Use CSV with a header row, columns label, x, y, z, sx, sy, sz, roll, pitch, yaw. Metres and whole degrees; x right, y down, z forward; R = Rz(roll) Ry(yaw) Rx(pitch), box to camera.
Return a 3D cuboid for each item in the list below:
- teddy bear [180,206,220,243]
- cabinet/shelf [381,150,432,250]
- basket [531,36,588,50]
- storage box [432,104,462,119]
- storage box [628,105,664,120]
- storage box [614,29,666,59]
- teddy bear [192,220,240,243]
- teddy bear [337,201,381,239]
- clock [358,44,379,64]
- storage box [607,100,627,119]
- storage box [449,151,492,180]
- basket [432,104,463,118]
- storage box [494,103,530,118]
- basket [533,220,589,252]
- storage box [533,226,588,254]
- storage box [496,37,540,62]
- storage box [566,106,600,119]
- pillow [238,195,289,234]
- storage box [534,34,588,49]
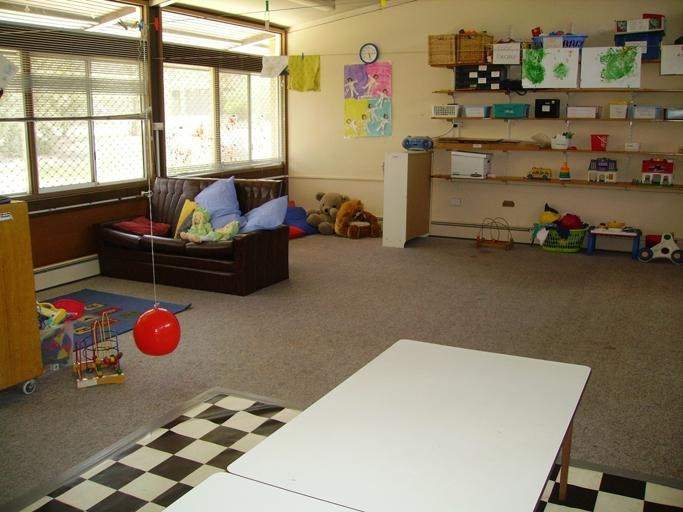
label,x,y,z,sx,sy,sz,roll,pitch,yaw
teddy bear,-1.647,-0.294,5.730,0.400,0.222,0.504,1,43,3
cabinet/shelf,0.992,-0.873,7.599,0.454,1.491,1.413,3,12,22
basket,2.984,-2.920,6.774,0.424,0.138,0.304,3,13,25
storage box,1.612,-2.215,7.644,0.340,0.144,0.243,1,12,14
storage box,4.108,-1.942,6.672,0.423,0.203,0.239,5,15,29
storage box,3.999,-2.852,6.577,0.567,0.370,0.377,6,17,25
teddy bear,-1.402,-0.296,5.538,0.415,0.166,0.269,-1,11,4
teddy bear,0.213,-0.710,8.412,0.738,0.615,0.614,-6,10,-31
clock,0.450,-3.366,8.261,0.330,0.312,0.331,18,29,31
storage box,3.756,-1.972,6.762,0.269,0.243,0.217,2,5,23
storage box,2.009,-1.381,7.725,0.497,0.339,0.498,4,9,30
basket,1.605,-2.222,7.636,0.339,0.145,0.243,1,13,14
storage box,2.470,-2.108,7.298,0.397,0.160,0.266,4,11,26
basket,3.192,-0.301,7.290,0.613,0.245,0.438,1,4,-1
storage box,3.213,-0.255,7.265,0.563,0.229,0.413,2,5,36
storage box,2.439,-2.916,7.124,0.407,0.238,0.404,5,16,21
storage box,3.388,-2.014,6.927,0.397,0.182,0.122,3,15,24
pillow,-0.910,-0.485,5.623,0.547,0.357,0.559,-3,13,-2
storage box,2.996,-2.938,6.776,0.397,0.127,0.298,4,15,24
